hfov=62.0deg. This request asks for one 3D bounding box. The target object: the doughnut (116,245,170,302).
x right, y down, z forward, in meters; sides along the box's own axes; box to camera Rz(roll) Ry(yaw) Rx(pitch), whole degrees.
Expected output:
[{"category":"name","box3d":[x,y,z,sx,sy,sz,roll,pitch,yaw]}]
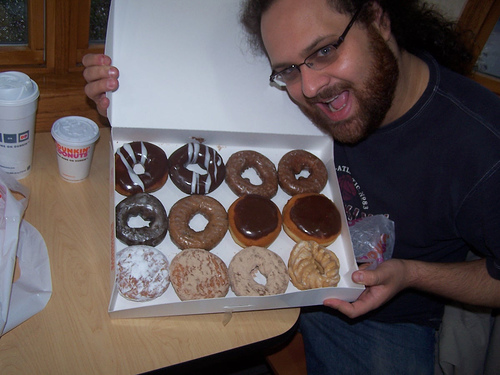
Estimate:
[{"category":"doughnut","box3d":[-0.497,0.395,1.918,0.267,0.092,0.291,1,46,-22]}]

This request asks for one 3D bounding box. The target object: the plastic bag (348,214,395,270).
[{"category":"plastic bag","box3d":[0.623,0.280,2.117,0.230,0.218,0.185,22,40,6]}]

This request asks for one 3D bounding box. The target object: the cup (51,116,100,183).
[{"category":"cup","box3d":[-0.885,-0.191,2.129,0.212,0.291,0.181,18,40,2]}]
